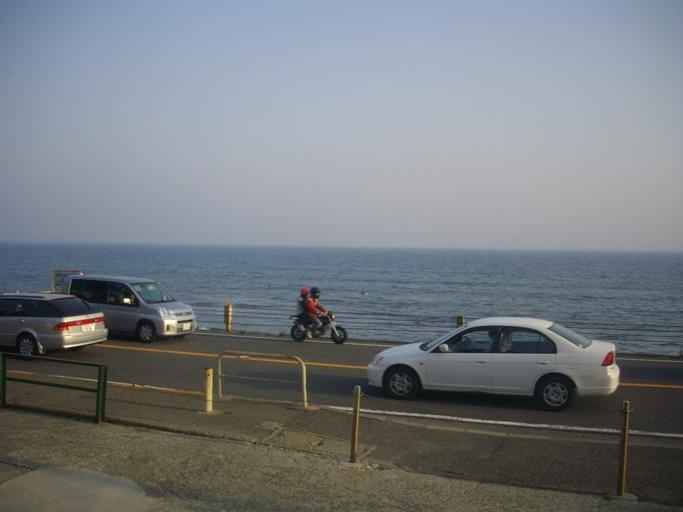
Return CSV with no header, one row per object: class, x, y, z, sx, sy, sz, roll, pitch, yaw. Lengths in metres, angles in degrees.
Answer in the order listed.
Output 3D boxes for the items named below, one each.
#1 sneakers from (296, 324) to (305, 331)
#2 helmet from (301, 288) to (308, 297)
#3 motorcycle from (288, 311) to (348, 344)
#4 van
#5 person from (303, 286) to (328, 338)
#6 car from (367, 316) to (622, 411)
sneakers,-1.486,2.547,21.781,0.190,0.094,0.250,-19,33,-37
helmet,-1.370,1.274,21.585,0.297,0.312,0.356,6,17,10
motorcycle,-0.799,2.473,21.914,2.423,1.189,1.199,1,-1,34
van,-7.521,1.778,21.592,4.315,1.770,2.195,2,2,12
person,-0.986,1.997,21.676,0.914,1.811,0.689,0,5,-20
car,3.371,2.249,13.847,5.118,1.420,2.062,1,-3,14
